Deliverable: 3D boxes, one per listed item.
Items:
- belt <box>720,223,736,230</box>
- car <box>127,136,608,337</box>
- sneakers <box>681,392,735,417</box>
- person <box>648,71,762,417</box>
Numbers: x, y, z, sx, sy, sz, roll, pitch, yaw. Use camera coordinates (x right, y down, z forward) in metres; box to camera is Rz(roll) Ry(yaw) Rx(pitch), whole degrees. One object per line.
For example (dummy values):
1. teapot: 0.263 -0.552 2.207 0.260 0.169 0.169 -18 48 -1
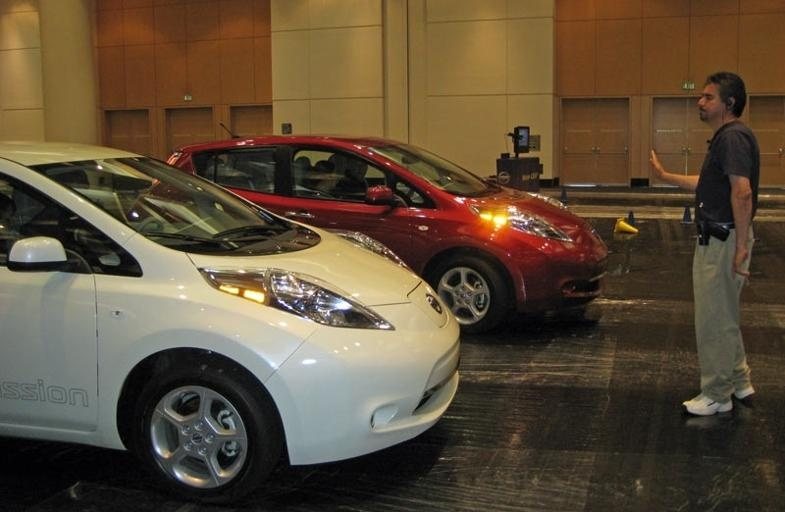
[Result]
1. belt: 2.458 -0.218 4.825 0.057 0.021 0.063 20 28 33
2. car: 0.028 -0.360 7.608 4.577 1.555 2.235 1 8 14
3. sneakers: 2.407 1.131 5.003 0.319 0.126 0.160 3 4 2
4. person: 2.513 -0.106 5.025 0.710 2.530 0.915 4 15 22
